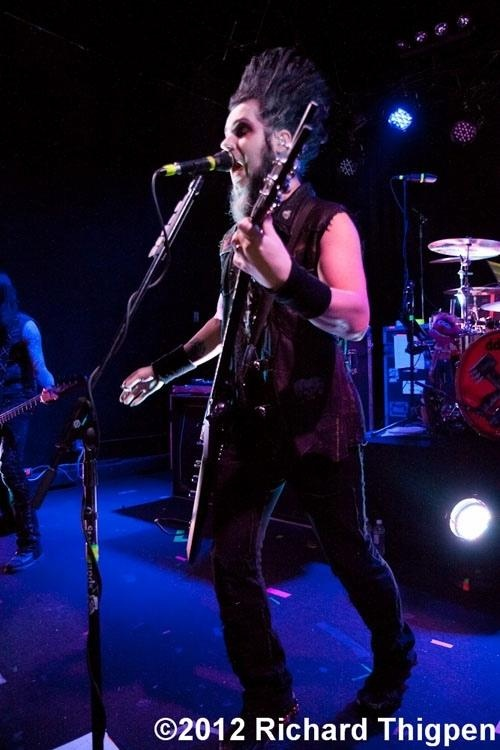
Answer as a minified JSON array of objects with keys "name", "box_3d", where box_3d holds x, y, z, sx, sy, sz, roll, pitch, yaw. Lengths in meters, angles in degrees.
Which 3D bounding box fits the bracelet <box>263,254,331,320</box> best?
[{"name":"bracelet","box_3d":[0.120,-0.216,1.603,0.152,0.112,0.036,33,-22,-22]}]

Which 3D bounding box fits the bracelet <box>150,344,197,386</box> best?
[{"name":"bracelet","box_3d":[-0.267,-0.040,2.288,0.144,0.123,0.057,-33,-14,10]}]

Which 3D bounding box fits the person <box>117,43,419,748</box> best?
[{"name":"person","box_3d":[0.037,0.004,1.967,0.773,2.193,0.768,4,4,39]}]

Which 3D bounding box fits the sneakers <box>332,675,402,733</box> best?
[{"name":"sneakers","box_3d":[0.378,1.052,2.046,0.148,0.119,0.234,-7,38,35]}]
